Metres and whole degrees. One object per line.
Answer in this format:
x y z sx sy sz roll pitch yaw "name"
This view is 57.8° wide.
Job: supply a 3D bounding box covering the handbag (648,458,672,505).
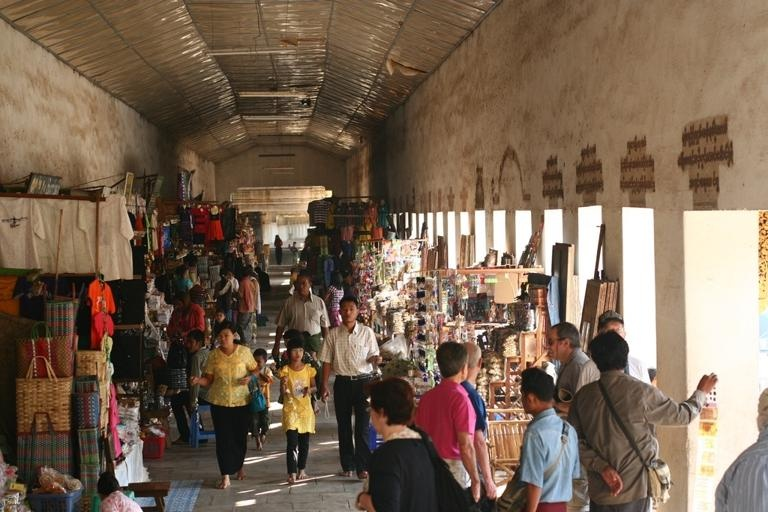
2.247 1.836 5.706 0.170 0.380 0.291 -3 -5 22 "handbag"
